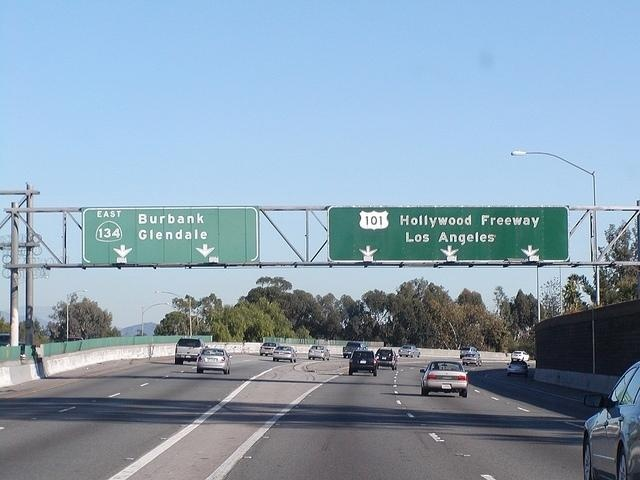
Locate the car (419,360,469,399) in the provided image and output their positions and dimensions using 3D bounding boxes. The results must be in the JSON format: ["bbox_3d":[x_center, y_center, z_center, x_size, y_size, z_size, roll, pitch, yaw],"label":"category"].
[{"bbox_3d":[6.013,6.760,44.386,2.138,1.760,1.792,-2,-5,7],"label":"car"}]

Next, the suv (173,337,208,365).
[{"bbox_3d":[-9.834,8.401,68.176,1.588,1.826,3.393,0,1,4],"label":"suv"}]

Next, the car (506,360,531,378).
[{"bbox_3d":[16.537,10.773,76.712,1.510,1.405,1.578,-3,-6,21],"label":"car"}]

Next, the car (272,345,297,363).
[{"bbox_3d":[-3.150,10.051,80.743,1.893,1.467,2.523,-1,-6,-4],"label":"car"}]

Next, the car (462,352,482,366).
[{"bbox_3d":[16.080,12.664,96.947,1.108,0.999,2.755,1,1,13],"label":"car"}]

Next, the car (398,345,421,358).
[{"bbox_3d":[11.267,14.280,117.264,1.863,1.470,2.786,-4,-7,28],"label":"car"}]

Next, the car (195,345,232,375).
[{"bbox_3d":[-6.665,7.622,57.349,1.781,1.621,2.329,2,-7,-30],"label":"car"}]

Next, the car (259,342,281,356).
[{"bbox_3d":[-5.275,11.307,93.186,1.269,1.223,3.385,0,1,7],"label":"car"}]

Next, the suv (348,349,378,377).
[{"bbox_3d":[2.990,8.548,63.645,1.862,1.794,2.589,-1,-6,1],"label":"suv"}]
